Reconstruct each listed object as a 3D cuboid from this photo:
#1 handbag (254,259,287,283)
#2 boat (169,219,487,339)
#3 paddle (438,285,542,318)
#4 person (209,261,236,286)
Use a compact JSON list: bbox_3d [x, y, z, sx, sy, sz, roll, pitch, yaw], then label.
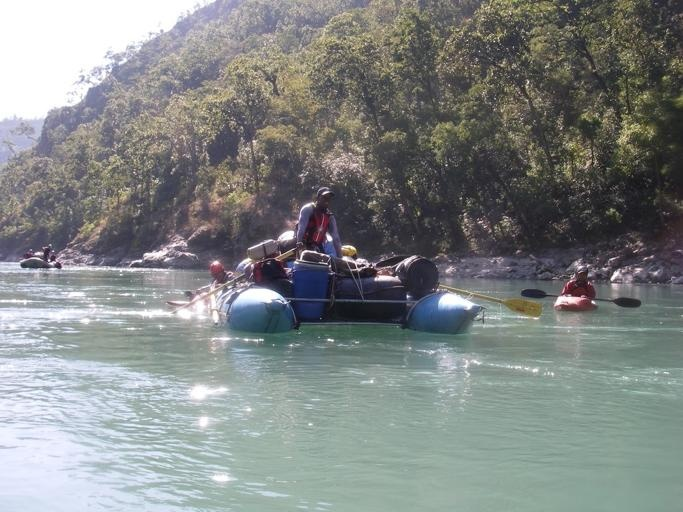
[{"bbox_3d":[-1.407,0.260,14.131,0.545,0.471,0.430,-23,-2,7],"label":"handbag"},{"bbox_3d":[-0.060,0.539,14.347,5.585,1.956,2.821,1,5,9],"label":"boat"},{"bbox_3d":[3.525,1.077,16.879,3.470,0.442,0.229,11,1,-13],"label":"paddle"},{"bbox_3d":[-3.864,0.555,23.213,0.601,0.887,0.748,-11,-3,-3],"label":"person"}]
